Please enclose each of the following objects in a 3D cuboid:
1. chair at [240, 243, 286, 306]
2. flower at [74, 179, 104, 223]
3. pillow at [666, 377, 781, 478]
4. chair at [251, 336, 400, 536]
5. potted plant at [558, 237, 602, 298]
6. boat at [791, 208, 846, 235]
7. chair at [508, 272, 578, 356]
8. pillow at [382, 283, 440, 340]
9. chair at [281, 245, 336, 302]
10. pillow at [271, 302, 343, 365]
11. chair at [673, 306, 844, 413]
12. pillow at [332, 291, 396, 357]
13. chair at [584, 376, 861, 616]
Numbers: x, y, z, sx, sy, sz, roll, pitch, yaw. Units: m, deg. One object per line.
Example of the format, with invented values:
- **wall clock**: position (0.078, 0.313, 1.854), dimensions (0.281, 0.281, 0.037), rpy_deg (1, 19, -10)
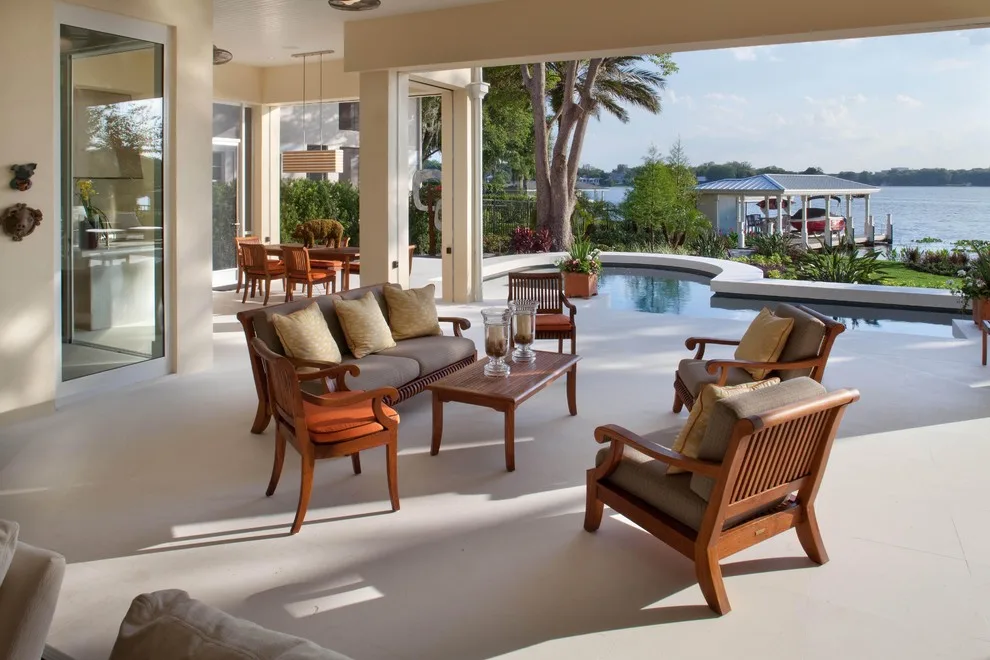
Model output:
- **chair**: position (-3.760, -0.923, 10.373), dimensions (0.605, 0.942, 0.701), rpy_deg (11, 14, 28)
- **flower**: position (-3.819, -1.202, 5.997), dimensions (0.042, 0.427, 0.208), rpy_deg (9, 17, 31)
- **pillow**: position (1.105, 0.456, 3.338), dimensions (0.177, 0.600, 0.588), rpy_deg (20, 16, 41)
- **chair**: position (-1.020, 0.563, 4.591), dimensions (1.158, 1.478, 1.052), rpy_deg (-5, 10, -32)
- **potted plant**: position (1.441, -1.027, 10.914), dimensions (0.720, 0.922, 0.860), rpy_deg (0, 7, 5)
- **boat**: position (13.901, -4.485, 27.053), dimensions (2.537, 1.215, 3.894), rpy_deg (4, 11, 33)
- **chair**: position (0.608, -0.186, 7.323), dimensions (0.872, 1.306, 0.939), rpy_deg (1, 2, 4)
- **pillow**: position (-0.798, -0.166, 6.226), dimensions (0.559, 0.511, 0.289), rpy_deg (-8, 17, -33)
- **chair**: position (-2.964, -0.883, 10.127), dimensions (0.736, 0.919, 0.689), rpy_deg (5, 17, 12)
- **pillow**: position (-1.466, 0.058, 4.941), dimensions (0.178, 0.448, 0.448), rpy_deg (-36, -13, 28)
- **chair**: position (2.042, 0.342, 5.250), dimensions (1.096, 0.943, 0.824), rpy_deg (-4, 13, -8)
- **pillow**: position (-1.164, -0.046, 5.742), dimensions (0.316, 0.513, 0.572), rpy_deg (8, 17, 26)
- **chair**: position (1.200, 0.795, 3.624), dimensions (1.274, 1.001, 1.380), rpy_deg (0, 9, -6)
